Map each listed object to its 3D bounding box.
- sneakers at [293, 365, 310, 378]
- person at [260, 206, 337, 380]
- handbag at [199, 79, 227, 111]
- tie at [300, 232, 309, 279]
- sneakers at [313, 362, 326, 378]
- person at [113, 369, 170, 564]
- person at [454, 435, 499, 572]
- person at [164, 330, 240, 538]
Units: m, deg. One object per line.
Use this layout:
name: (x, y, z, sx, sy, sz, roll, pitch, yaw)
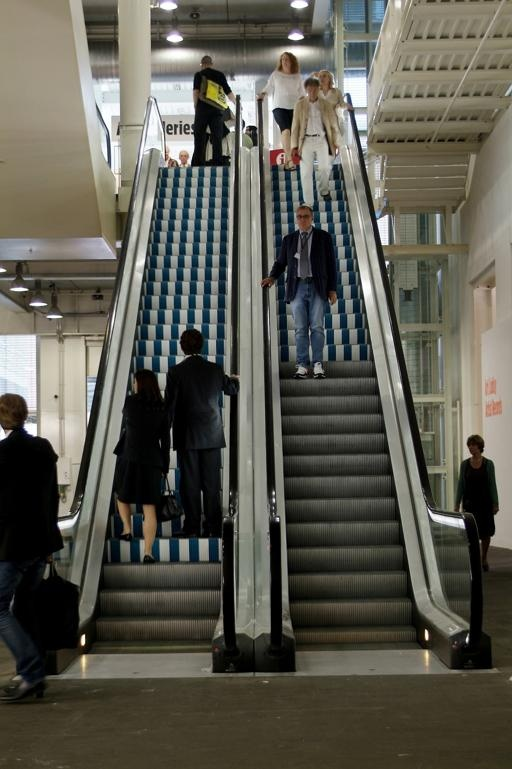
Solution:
sneakers: (0.418, -0.105, 5.481, 0.172, 0.114, 0.082, 7, -11, -38)
person: (0.427, -0.855, 5.712, 0.586, 1.675, 0.422, -1, -7, 3)
handbag: (-0.653, -4.329, 9.349, 0.297, 0.437, 0.116, 6, -6, -39)
tie: (0.442, -1.156, 5.689, 0.085, 0.429, 0.016, -4, -27, 14)
sneakers: (0.559, -0.117, 5.545, 0.095, 0.165, 0.274, -1, -9, 8)
person: (-0.744, 0.520, 4.083, 0.343, 1.256, 0.281, 2, -7, -14)
person: (2.315, 1.175, 6.540, 0.350, 1.557, 0.268, 2, 21, 30)
person: (-0.371, 0.305, 4.246, 0.477, 1.423, 0.290, 1, -7, -7)
